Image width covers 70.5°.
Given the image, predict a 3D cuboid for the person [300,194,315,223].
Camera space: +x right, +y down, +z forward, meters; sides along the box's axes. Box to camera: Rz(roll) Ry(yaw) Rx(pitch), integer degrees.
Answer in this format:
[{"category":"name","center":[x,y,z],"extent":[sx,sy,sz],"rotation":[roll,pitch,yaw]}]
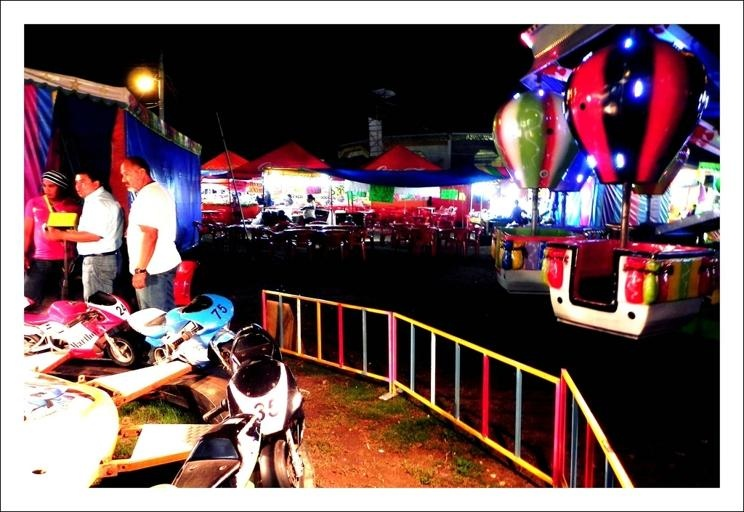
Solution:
[{"category":"person","center":[-2.223,-1.625,18.239],"extent":[0.634,0.452,1.526],"rotation":[3,13,-4]}]

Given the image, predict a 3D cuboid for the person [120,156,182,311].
[{"category":"person","center":[-2.114,-0.205,5.152],"extent":[0.568,1.498,0.453],"rotation":[9,13,43]}]

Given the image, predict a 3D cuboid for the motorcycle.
[{"category":"motorcycle","center":[-1.291,0.980,3.497],"extent":[1.661,0.804,1.309],"rotation":[0,7,-37]}]
